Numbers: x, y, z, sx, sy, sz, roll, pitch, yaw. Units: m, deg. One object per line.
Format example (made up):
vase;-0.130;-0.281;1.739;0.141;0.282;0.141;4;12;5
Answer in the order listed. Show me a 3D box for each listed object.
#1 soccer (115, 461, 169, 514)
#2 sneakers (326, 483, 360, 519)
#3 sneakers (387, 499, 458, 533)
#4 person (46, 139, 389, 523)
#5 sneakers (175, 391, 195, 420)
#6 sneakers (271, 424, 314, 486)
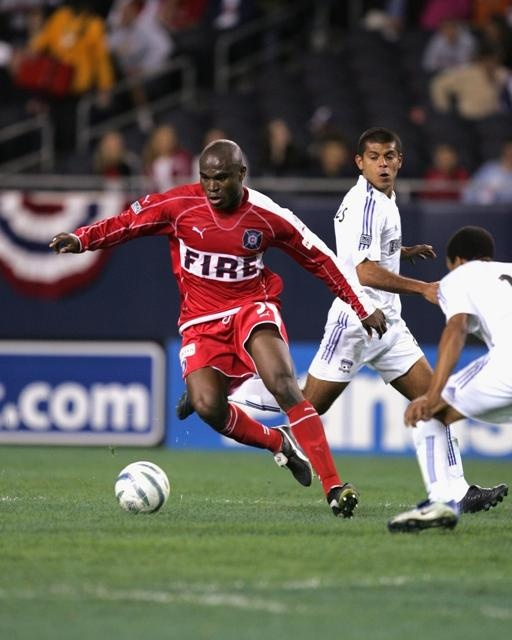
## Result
soccer;-0.569;0.839;5.148;0.231;0.244;0.234;6;25;23
sneakers;0.405;0.861;4.995;0.113;0.193;0.101;-1;54;-8
sneakers;0.671;0.832;4.494;0.370;0.107;0.140;-6;46;3
person;-0.076;0.029;5.337;1.453;1.874;0.778;11;30;32
sneakers;-0.403;0.483;5.868;0.099;0.226;0.094;1;59;-3
sneakers;0.207;0.753;5.713;0.163;0.363;0.154;-36;0;-22
